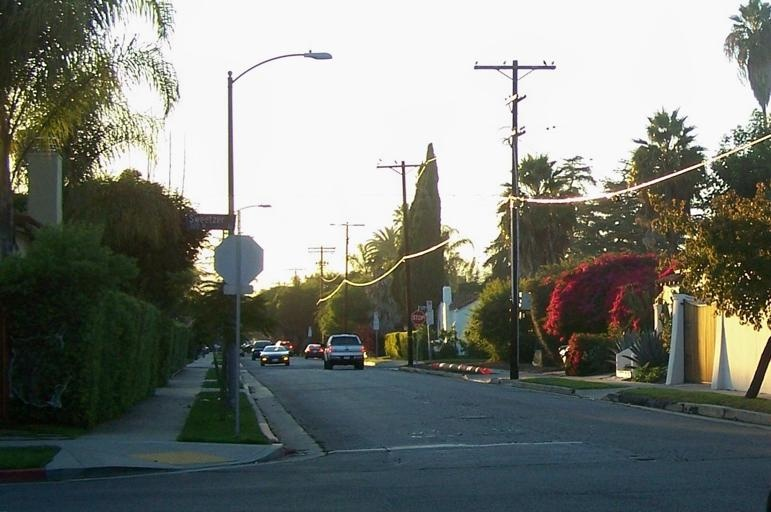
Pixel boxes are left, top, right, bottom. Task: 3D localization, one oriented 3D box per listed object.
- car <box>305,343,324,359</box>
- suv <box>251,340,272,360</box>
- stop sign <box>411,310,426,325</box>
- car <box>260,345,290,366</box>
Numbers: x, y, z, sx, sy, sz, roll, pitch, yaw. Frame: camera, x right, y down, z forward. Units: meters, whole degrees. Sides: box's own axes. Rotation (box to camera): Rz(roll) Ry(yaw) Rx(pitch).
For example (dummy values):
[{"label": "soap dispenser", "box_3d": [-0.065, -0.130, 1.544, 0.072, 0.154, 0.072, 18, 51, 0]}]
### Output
[{"label": "car", "box_3d": [-6.171, 8.275, 81.142, 1.004, 0.843, 2.407, 1, 0, 1]}, {"label": "suv", "box_3d": [-11.086, 7.776, 80.289, 1.801, 1.678, 3.230, 0, -15, -6]}, {"label": "stop sign", "box_3d": [2.009, 3.718, 57.376, 0.754, 0.815, 0.125, 11, -20, -27]}, {"label": "car", "box_3d": [-7.470, 6.608, 63.520, 1.186, 0.939, 2.271, 0, -14, -4]}]
